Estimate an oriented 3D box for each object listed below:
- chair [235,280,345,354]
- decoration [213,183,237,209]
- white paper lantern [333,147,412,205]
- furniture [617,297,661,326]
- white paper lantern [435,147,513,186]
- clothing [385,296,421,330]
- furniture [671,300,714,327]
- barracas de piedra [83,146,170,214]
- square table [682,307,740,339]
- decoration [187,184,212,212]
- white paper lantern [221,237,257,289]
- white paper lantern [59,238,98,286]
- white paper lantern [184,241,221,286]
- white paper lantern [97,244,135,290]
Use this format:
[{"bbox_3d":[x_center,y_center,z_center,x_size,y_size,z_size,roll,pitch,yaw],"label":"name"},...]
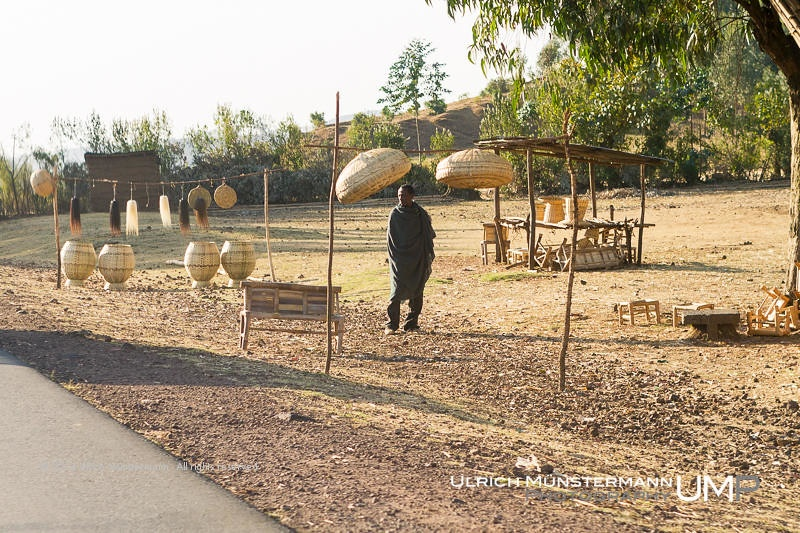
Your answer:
[{"bbox_3d":[-2.039,0.944,23.412,2.079,1.442,1.899,0,7,13],"label":"chair"},{"bbox_3d":[-4.722,-1.820,31.683,0.743,0.741,0.165,5,-3,-40],"label":"decoration"},{"bbox_3d":[-0.574,-1.547,23.428,1.160,0.550,1.162,-29,3,-43],"label":"white paper lantern"},{"bbox_3d":[4.974,0.918,25.016,0.864,0.462,0.850,0,6,9],"label":"furniture"},{"bbox_3d":[1.707,-2.201,27.333,1.556,0.898,0.952,-5,8,-32],"label":"white paper lantern"},{"bbox_3d":[0.086,0.969,24.861,0.676,0.875,0.286,2,4,-20],"label":"clothing"},{"bbox_3d":[5.787,0.907,24.308,0.582,0.351,0.568,2,8,21],"label":"furniture"},{"bbox_3d":[-10.379,-3.161,45.425,2.658,2.232,2.321,-3,7,-14],"label":"barracas de piedra"},{"bbox_3d":[6.119,1.102,23.418,0.737,0.337,0.716,-1,1,1],"label":"square table"},{"bbox_3d":[-5.575,-1.877,33.176,0.688,0.658,0.163,12,-9,-42],"label":"decoration"},{"bbox_3d":[-4.012,-0.077,30.061,1.180,1.254,1.093,3,1,6],"label":"white paper lantern"},{"bbox_3d":[-7.762,-0.075,29.241,1.065,1.191,0.985,0,6,-31],"label":"white paper lantern"},{"bbox_3d":[-4.813,-0.039,29.640,0.826,1.076,0.406,-2,7,-8],"label":"white paper lantern"},{"bbox_3d":[-6.831,-0.008,29.544,1.054,1.213,0.997,-3,9,-41],"label":"white paper lantern"}]
